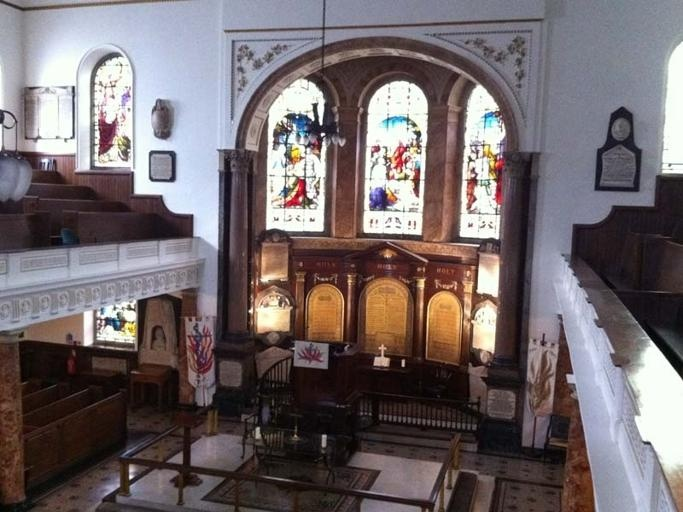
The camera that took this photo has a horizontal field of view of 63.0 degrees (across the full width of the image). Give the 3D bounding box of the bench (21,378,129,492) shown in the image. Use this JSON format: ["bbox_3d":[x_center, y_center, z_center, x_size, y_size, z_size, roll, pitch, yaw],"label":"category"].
[{"bbox_3d":[-6.629,3.967,13.013,2.247,1.291,2.826,3,7,24],"label":"bench"}]

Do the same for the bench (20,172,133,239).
[{"bbox_3d":[-6.841,-1.441,15.135,2.510,1.872,5.270,-3,7,-25],"label":"bench"}]

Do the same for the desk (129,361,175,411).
[{"bbox_3d":[-5.336,3.696,15.925,1.021,1.049,0.825,1,6,5],"label":"desk"}]
